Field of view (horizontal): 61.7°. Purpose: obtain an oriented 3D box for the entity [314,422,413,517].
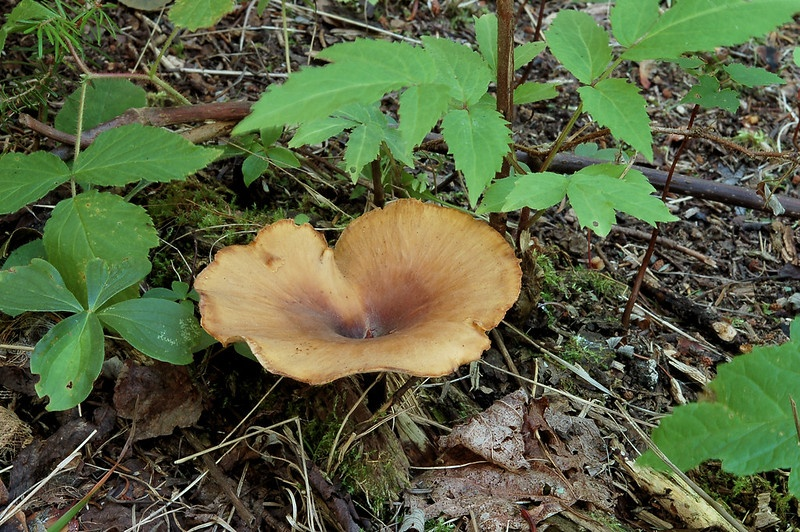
[{"bbox_3d":[-0.162,1.196,4.022,0.444,0.207,0.486,-42,86,-7],"label":"entity"}]
